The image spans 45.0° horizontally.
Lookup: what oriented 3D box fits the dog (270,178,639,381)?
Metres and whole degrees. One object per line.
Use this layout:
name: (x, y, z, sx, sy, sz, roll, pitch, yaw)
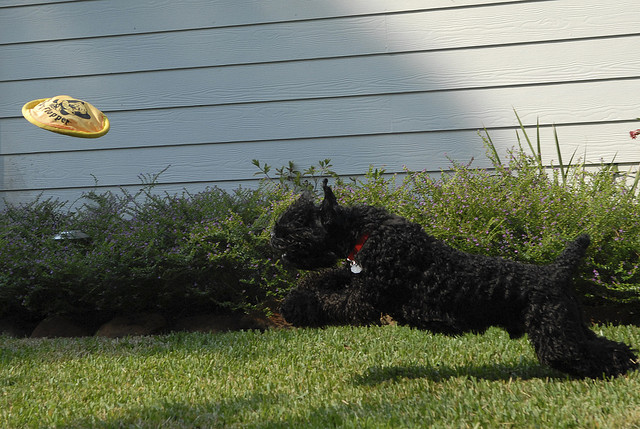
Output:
dog: (1.330, 0.770, 8.311, 5.417, 1.635, 1.487, 6, -12, 8)
